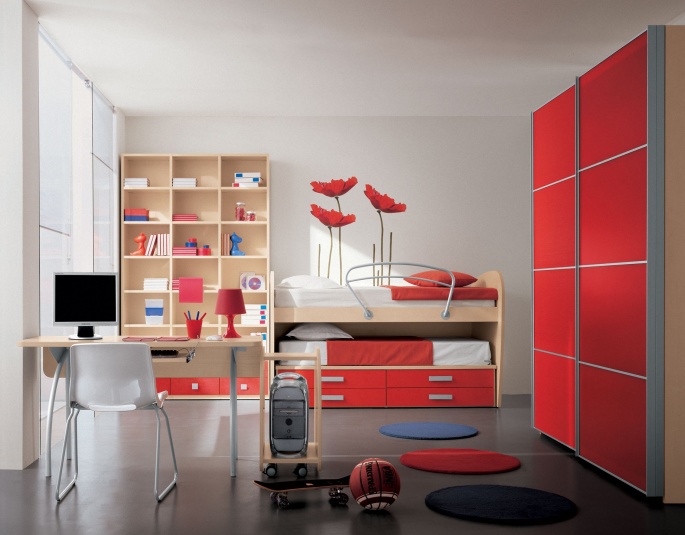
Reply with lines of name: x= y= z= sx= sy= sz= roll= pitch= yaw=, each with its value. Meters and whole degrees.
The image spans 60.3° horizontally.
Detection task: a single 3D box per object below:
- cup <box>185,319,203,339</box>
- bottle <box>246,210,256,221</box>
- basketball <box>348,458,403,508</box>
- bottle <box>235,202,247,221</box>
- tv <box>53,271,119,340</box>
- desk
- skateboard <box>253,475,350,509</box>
cup: x=-1.070 y=0.431 z=4.146 sx=0.137 sy=0.123 sz=0.125 roll=-1 pitch=-2 yaw=0
bottle: x=-1.002 y=-0.563 z=6.455 sx=0.111 sy=0.100 sz=0.108 roll=-2 pitch=-2 yaw=9
basketball: x=0.164 y=1.253 z=3.426 sx=0.342 sy=0.320 sz=0.312 roll=-3 pitch=-29 yaw=2
bottle: x=-1.107 y=-0.610 z=6.417 sx=0.117 sy=0.221 sz=0.249 roll=0 pitch=1 yaw=-9
tv: x=-1.798 y=0.252 z=4.109 sx=0.583 sy=0.594 sz=0.215 roll=0 pitch=-2 yaw=-4
desk: x=-1.303 y=0.798 z=4.102 sx=1.494 sy=0.745 sz=0.540 roll=0 pitch=10 yaw=-7
skateboard: x=-0.247 y=1.298 z=3.535 sx=0.566 sy=0.101 sz=0.467 roll=0 pitch=1 yaw=-7
